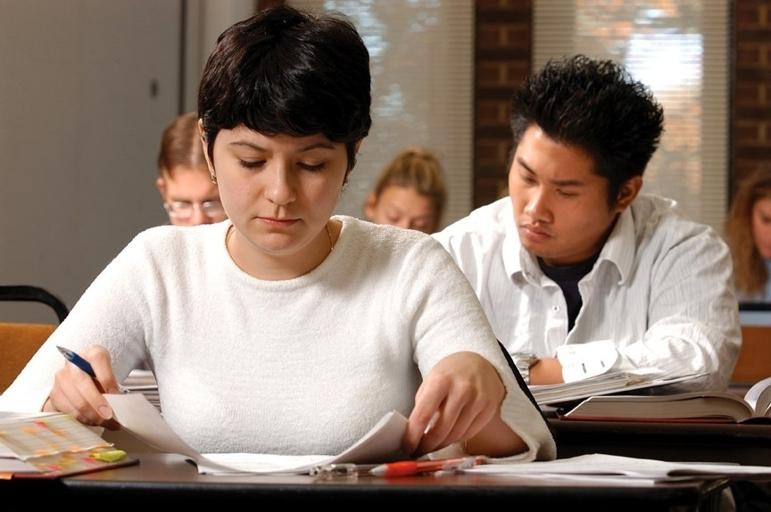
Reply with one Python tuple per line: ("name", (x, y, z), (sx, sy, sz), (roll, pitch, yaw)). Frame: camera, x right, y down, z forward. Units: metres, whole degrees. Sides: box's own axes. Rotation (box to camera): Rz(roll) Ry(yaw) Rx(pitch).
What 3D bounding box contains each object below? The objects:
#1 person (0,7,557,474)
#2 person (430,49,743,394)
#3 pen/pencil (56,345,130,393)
("person", (-0.156, 0.067, 1.574), (1.160, 0.822, 0.742), (0, -10, 0))
("person", (0.501, -0.073, 2.228), (1.004, 0.838, 0.597), (8, 14, 34))
("pen/pencil", (-0.473, 0.177, 1.223), (0.014, 0.108, 0.013), (-43, 0, 21))
